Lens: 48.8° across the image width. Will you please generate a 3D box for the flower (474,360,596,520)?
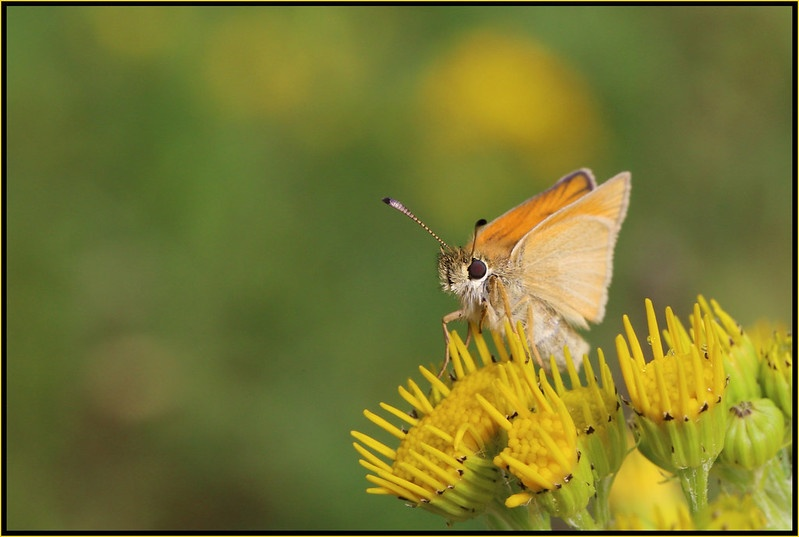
[{"bbox_3d":[0.658,0.782,4.041,0.328,0.659,0.633,-16,-36,32],"label":"flower"}]
